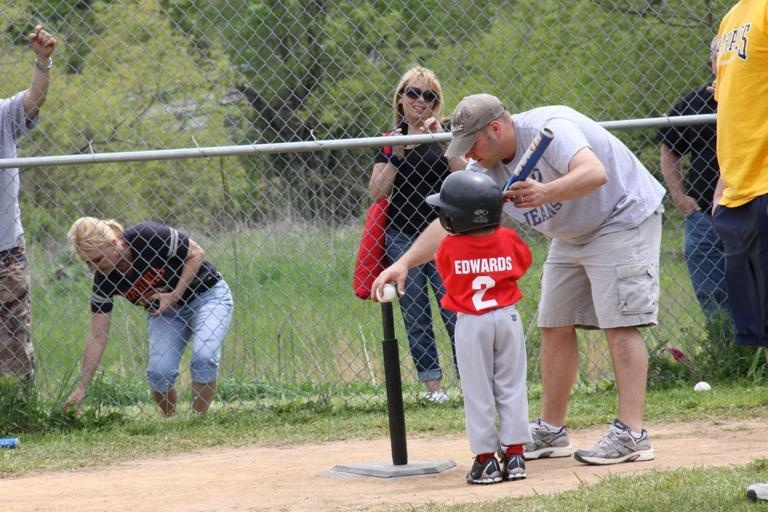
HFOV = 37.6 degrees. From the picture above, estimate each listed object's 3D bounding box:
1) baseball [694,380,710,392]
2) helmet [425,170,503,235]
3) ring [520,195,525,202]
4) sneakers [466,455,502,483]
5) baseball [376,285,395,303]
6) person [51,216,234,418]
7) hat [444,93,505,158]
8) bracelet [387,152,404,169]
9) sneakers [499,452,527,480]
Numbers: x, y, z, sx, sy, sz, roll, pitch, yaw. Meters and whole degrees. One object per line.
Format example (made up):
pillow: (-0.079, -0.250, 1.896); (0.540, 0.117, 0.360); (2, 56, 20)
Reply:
baseball: (2.807, 1.148, 9.940); (0.090, 0.070, 0.088); (12, 1, 11)
helmet: (0.594, -0.362, 7.961); (0.484, 0.387, 0.366); (15, 15, 29)
ring: (0.965, -0.388, 7.874); (0.007, 0.030, 0.029); (-5, 1, -37)
sneakers: (0.706, 1.519, 8.071); (0.135, 0.164, 0.310); (-1, 0, -6)
baseball: (0.032, 0.275, 8.195); (0.123, 0.111, 0.117); (-32, -16, 12)
person: (-1.997, 0.502, 9.804); (1.309, 1.737, 0.582); (-4, 9, -3)
hat: (0.654, -0.930, 8.080); (0.443, 0.424, 0.188); (-2, 9, 3)
bracelet: (0.103, -0.818, 9.728); (0.125, 0.109, 0.098); (35, 4, 23)
sneakers: (0.924, 1.508, 8.026); (0.100, 0.127, 0.258); (-1, 1, -1)
